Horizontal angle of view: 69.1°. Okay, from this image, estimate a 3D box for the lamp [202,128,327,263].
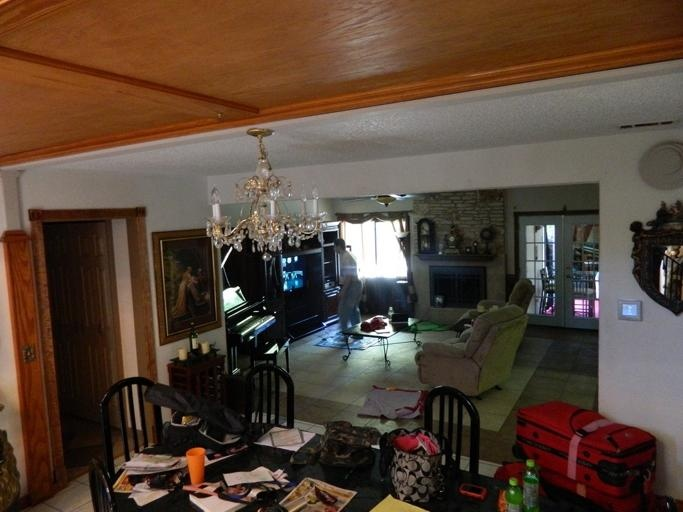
[{"bbox_3d":[-0.575,-0.425,3.570,0.900,0.921,0.808,0,6,-3],"label":"lamp"}]

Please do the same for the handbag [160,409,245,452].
[{"bbox_3d":[-0.888,1.090,3.056,0.346,0.121,0.255,12,8,11],"label":"handbag"}]

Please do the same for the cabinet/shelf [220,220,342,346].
[{"bbox_3d":[-0.869,0.508,8.933,0.771,1.906,2.346,6,12,29],"label":"cabinet/shelf"}]

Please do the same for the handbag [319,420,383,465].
[{"bbox_3d":[0.050,1.107,2.954,0.394,0.152,0.353,-3,-1,22],"label":"handbag"}]

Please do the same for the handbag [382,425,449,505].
[{"bbox_3d":[0.363,1.112,2.651,0.244,0.281,0.335,1,-3,-44],"label":"handbag"}]

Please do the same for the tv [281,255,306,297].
[{"bbox_3d":[-0.869,0.372,8.886,0.079,0.699,1.017,6,-10,-35],"label":"tv"}]

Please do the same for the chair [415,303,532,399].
[{"bbox_3d":[1.632,1.188,6.194,1.150,0.956,1.070,-5,0,44],"label":"chair"}]

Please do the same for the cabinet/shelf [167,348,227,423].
[{"bbox_3d":[-1.524,1.357,5.319,0.275,0.528,0.571,2,3,29],"label":"cabinet/shelf"}]

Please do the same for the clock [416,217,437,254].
[{"bbox_3d":[1.677,-0.363,9.762,0.372,0.721,0.134,0,2,5],"label":"clock"}]

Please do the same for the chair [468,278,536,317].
[{"bbox_3d":[2.635,0.656,8.030,0.793,0.812,0.683,-1,2,21],"label":"chair"}]
